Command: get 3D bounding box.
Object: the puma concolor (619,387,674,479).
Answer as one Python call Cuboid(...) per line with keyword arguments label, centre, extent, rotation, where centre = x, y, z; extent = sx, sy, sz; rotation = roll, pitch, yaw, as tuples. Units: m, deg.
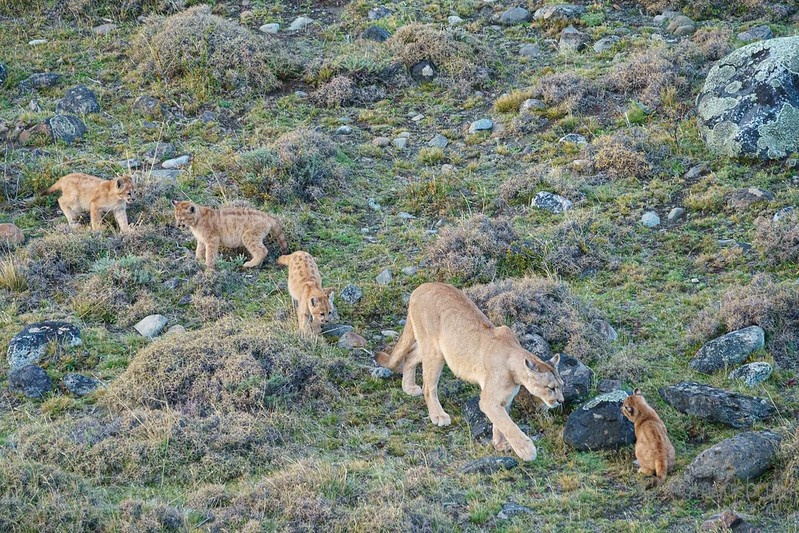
Cuboid(label="puma concolor", centre=(4.117, 2.816, 17.038), extent=(0.445, 0.780, 1.617), rotation=(-5, 44, -2))
